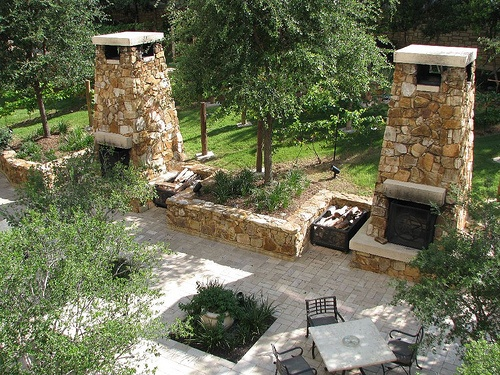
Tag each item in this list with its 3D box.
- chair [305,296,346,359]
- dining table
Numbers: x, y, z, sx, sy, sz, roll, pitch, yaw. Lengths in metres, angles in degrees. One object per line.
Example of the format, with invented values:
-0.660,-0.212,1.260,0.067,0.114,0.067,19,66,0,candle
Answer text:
1.508,2.888,8.599,0.699,1.067,0.730,-5,42,0,chair
1.918,3.284,8.058,1.367,0.876,1.121,-6,22,-4,dining table
